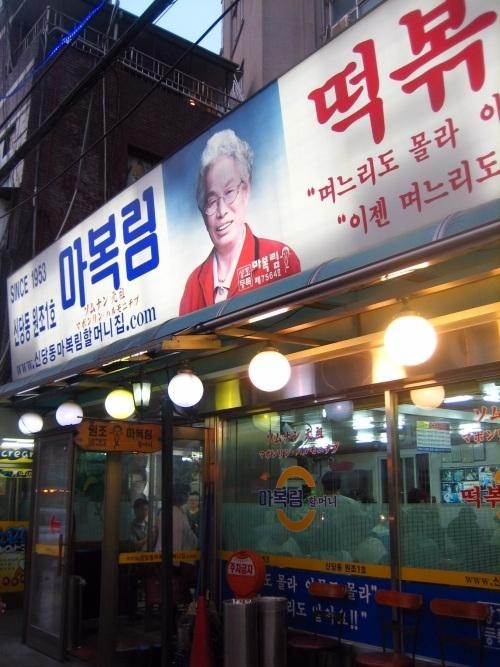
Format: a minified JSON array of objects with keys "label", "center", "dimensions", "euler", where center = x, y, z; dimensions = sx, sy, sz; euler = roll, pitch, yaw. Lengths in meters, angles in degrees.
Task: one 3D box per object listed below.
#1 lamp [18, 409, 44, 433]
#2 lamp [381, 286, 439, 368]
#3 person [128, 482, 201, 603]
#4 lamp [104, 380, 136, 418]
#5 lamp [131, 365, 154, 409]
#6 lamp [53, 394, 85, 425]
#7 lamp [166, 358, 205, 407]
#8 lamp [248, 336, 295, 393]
[{"label":"lamp","center":[-3.591,1.478,8.897],"dimensions":[0.332,0.323,0.284],"euler":[0,-15,-11]},{"label":"lamp","center":[0.924,-0.002,3.174],"dimensions":[0.275,0.340,0.143],"euler":[-7,-15,16]},{"label":"person","center":[-0.997,2.417,6.315],"dimensions":[0.765,1.350,0.353],"euler":[0,-15,-11]},{"label":"lamp","center":[-1.534,0.818,6.572],"dimensions":[0.333,0.493,0.343],"euler":[-8,-20,27]},{"label":"lamp","center":[-1.354,0.683,6.841],"dimensions":[0.246,0.579,1.594],"euler":[0,-15,-10]},{"label":"lamp","center":[-2.490,1.118,7.553],"dimensions":[0.320,0.391,0.570],"euler":[5,-17,-27]},{"label":"lamp","center":[-0.592,0.500,5.044],"dimensions":[0.300,0.389,0.309],"euler":[16,19,36]},{"label":"lamp","center":[0.148,0.275,4.299],"dimensions":[0.467,0.442,0.493],"euler":[-1,-2,-7]}]
